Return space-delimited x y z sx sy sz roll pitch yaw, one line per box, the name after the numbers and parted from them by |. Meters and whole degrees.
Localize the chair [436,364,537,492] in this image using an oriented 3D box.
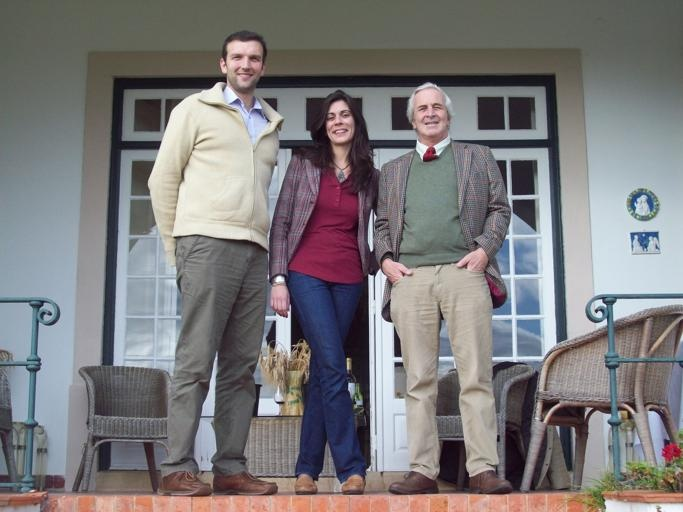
0.896 1.070 5.961 0.648 0.852 0.554 -8 -12 25 | chair

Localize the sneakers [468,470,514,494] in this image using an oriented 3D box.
0.776 1.208 4.917 0.100 0.131 0.248 1 -14 -41 | sneakers

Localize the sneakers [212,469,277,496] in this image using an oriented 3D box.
-0.529 1.223 5.037 0.343 0.167 0.142 -3 -10 9 | sneakers

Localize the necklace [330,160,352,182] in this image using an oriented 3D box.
-0.001 -0.477 5.282 0.110 0.156 0.021 0 -26 3 | necklace

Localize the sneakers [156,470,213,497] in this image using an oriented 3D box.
-0.809 1.190 4.863 0.225 0.108 0.127 0 -8 18 | sneakers

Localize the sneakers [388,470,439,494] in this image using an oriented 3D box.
0.392 1.221 4.970 0.274 0.140 0.109 6 -14 -17 | sneakers

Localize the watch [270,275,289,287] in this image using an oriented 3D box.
-0.348 0.144 5.157 0.056 0.061 0.060 0 -6 -1 | watch

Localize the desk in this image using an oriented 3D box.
-0.412 1.247 6.008 0.661 0.326 0.518 -1 -11 3 | desk

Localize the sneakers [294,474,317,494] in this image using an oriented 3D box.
-0.194 1.249 5.045 0.114 0.101 0.135 1 -10 -6 | sneakers

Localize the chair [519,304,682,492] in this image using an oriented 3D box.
1.632 0.986 5.683 1.029 1.314 0.975 -6 -19 21 | chair

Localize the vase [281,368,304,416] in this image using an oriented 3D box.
-0.327 0.928 6.148 0.178 0.294 0.190 -10 -16 32 | vase

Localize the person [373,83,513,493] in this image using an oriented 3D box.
0.565 0.157 5.152 0.768 2.284 0.351 0 -9 3 | person

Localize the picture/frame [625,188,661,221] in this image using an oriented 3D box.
2.208 -0.362 6.792 0.200 0.239 0.032 1 -7 -1 | picture/frame

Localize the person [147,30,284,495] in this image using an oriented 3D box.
-0.693 0.033 5.069 0.715 2.496 0.440 0 -9 -1 | person

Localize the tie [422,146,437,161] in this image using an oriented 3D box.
0.501 -0.577 5.228 0.067 0.076 0.033 5 3 4 | tie

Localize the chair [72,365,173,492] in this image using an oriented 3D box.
-1.418 1.126 6.137 0.721 0.958 0.815 -3 -13 10 | chair
